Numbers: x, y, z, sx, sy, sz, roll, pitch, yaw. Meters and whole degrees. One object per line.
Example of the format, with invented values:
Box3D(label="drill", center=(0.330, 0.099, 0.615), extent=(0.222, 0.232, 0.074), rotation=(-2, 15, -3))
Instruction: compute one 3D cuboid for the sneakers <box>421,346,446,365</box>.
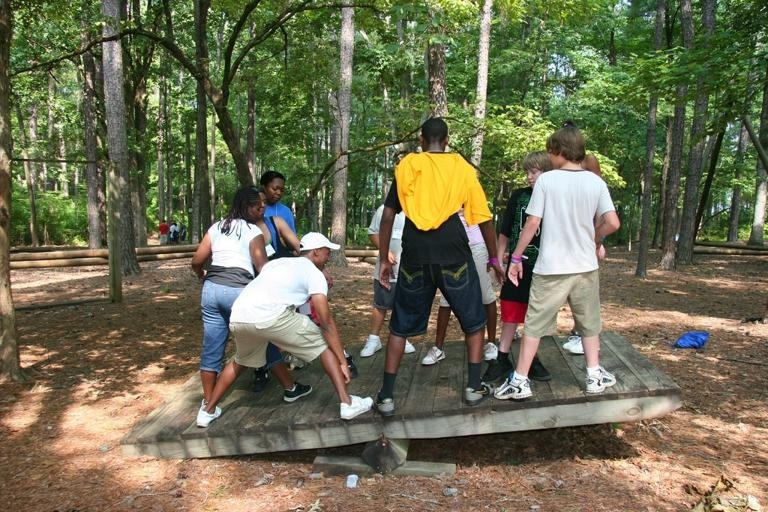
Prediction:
Box3D(label="sneakers", center=(0.769, 1.492, 9.160), extent=(0.437, 0.189, 0.181), rotation=(-5, 3, -44))

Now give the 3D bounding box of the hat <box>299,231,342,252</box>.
Box3D(label="hat", center=(-0.869, -0.211, 8.105), extent=(0.456, 0.182, 0.282), rotation=(-1, 6, -15))

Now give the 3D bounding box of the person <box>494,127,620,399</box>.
Box3D(label="person", center=(2.402, 0.096, 7.915), extent=(1.467, 3.533, 0.885), rotation=(1, 12, 8))

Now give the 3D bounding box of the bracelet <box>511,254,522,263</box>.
Box3D(label="bracelet", center=(1.772, 0.021, 7.992), extent=(0.112, 0.075, 0.093), rotation=(9, -7, -28))
